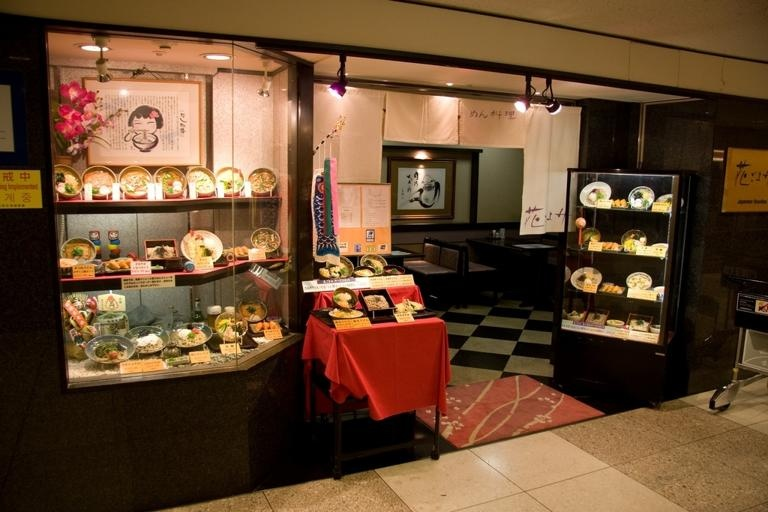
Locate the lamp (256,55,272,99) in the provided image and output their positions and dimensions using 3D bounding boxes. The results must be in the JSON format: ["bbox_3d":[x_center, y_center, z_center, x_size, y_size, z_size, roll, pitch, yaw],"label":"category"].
[{"bbox_3d":[-0.941,-1.422,4.222,0.124,0.284,0.126,-11,13,-36],"label":"lamp"}]

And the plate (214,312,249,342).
[{"bbox_3d":[-1.206,0.556,4.131,0.234,0.219,0.142,6,-39,-34],"label":"plate"}]

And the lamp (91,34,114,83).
[{"bbox_3d":[-2.019,-1.419,3.759,0.134,0.341,0.118,-13,43,-28],"label":"lamp"}]

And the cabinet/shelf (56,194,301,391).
[{"bbox_3d":[-1.657,0.235,4.498,2.411,1.617,1.259,-3,5,-26],"label":"cabinet/shelf"}]

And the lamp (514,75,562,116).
[{"bbox_3d":[1.521,-1.604,5.231,0.470,0.382,0.162,-1,9,-9],"label":"lamp"}]

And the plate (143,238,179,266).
[{"bbox_3d":[-1.701,-0.034,4.031,0.238,0.208,0.142,-7,-1,-19],"label":"plate"}]

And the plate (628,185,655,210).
[{"bbox_3d":[2.652,-0.600,5.414,0.247,0.230,0.117,3,12,27],"label":"plate"}]

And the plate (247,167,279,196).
[{"bbox_3d":[-1.014,-0.610,4.403,0.241,0.219,0.140,0,0,-17],"label":"plate"}]

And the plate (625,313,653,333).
[{"bbox_3d":[2.643,0.680,5.436,0.236,0.105,0.319,3,12,28],"label":"plate"}]

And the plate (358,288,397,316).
[{"bbox_3d":[-0.062,0.393,4.456,0.264,0.172,0.251,-5,11,-14],"label":"plate"}]

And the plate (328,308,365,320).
[{"bbox_3d":[-0.304,0.469,4.302,0.284,0.040,0.205,-3,10,-4],"label":"plate"}]

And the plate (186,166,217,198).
[{"bbox_3d":[-1.456,-0.593,4.211,0.218,0.241,0.099,-7,3,-26],"label":"plate"}]

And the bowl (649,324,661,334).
[{"bbox_3d":[2.739,0.729,5.303,0.092,0.036,0.087,-3,12,1],"label":"bowl"}]

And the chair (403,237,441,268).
[{"bbox_3d":[0.645,-0.086,8.944,0.498,0.623,0.702,-1,13,-10],"label":"chair"}]

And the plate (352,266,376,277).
[{"bbox_3d":[-0.174,0.140,4.843,0.200,0.061,0.204,-2,10,0],"label":"plate"}]

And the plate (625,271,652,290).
[{"bbox_3d":[2.663,0.247,5.468,0.242,0.149,0.112,2,12,23],"label":"plate"}]

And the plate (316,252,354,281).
[{"bbox_3d":[-0.445,0.091,4.757,0.333,0.183,0.279,-6,11,-20],"label":"plate"}]

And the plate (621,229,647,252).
[{"bbox_3d":[2.607,-0.156,5.490,0.245,0.219,0.218,2,12,25],"label":"plate"}]

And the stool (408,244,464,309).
[{"bbox_3d":[0.816,0.300,8.486,0.813,0.984,0.800,-7,11,-22],"label":"stool"}]

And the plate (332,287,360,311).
[{"bbox_3d":[-0.336,0.360,4.527,0.184,0.100,0.171,-1,50,-30],"label":"plate"}]

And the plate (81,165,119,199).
[{"bbox_3d":[-2.116,-0.535,3.891,0.239,0.219,0.152,7,-21,-24],"label":"plate"}]

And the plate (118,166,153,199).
[{"bbox_3d":[-1.888,-0.555,3.998,0.230,0.232,0.159,8,-18,-15],"label":"plate"}]

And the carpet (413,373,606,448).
[{"bbox_3d":[1.199,1.494,5.275,1.662,0.112,1.028,-6,11,-22],"label":"carpet"}]

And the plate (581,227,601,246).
[{"bbox_3d":[2.222,-0.204,5.691,0.203,0.214,0.201,8,0,14],"label":"plate"}]

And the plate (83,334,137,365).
[{"bbox_3d":[-2.018,0.686,3.889,0.244,0.083,0.233,-9,49,-42],"label":"plate"}]

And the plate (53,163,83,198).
[{"bbox_3d":[-2.242,-0.526,3.746,0.092,0.197,0.211,-13,-21,40],"label":"plate"}]

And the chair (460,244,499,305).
[{"bbox_3d":[1.593,0.338,8.718,0.363,0.587,0.901,-4,16,-8],"label":"chair"}]

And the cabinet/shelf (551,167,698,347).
[{"bbox_3d":[2.453,-0.038,5.475,1.081,1.730,0.552,5,13,36],"label":"cabinet/shelf"}]

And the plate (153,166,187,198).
[{"bbox_3d":[-1.702,-0.572,4.174,0.236,0.231,0.134,-18,12,-39],"label":"plate"}]
